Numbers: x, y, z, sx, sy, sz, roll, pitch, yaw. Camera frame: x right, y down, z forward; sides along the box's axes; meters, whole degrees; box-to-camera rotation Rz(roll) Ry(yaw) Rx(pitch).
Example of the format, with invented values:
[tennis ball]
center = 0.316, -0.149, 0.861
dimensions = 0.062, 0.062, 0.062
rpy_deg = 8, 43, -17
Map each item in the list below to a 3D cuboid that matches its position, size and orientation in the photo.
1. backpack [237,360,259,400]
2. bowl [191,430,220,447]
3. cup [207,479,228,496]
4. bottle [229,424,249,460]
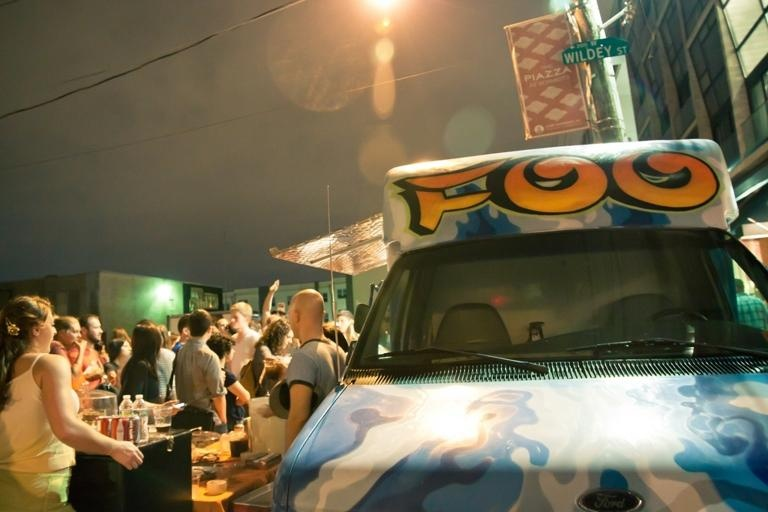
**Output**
[backpack]
center = -1.939, 1.742, 7.564
dimensions = 0.167, 0.509, 0.346
rpy_deg = -3, 22, -16
[bowl]
center = -1.938, 1.921, 5.629
dimensions = 0.210, 0.086, 0.222
rpy_deg = -1, -3, 0
[cup]
center = -1.389, 1.908, 4.419
dimensions = 0.172, 0.104, 0.290
rpy_deg = 11, -19, -37
[bottle]
center = -1.428, 1.846, 5.271
dimensions = 0.253, 0.276, 0.212
rpy_deg = -1, -4, -7
